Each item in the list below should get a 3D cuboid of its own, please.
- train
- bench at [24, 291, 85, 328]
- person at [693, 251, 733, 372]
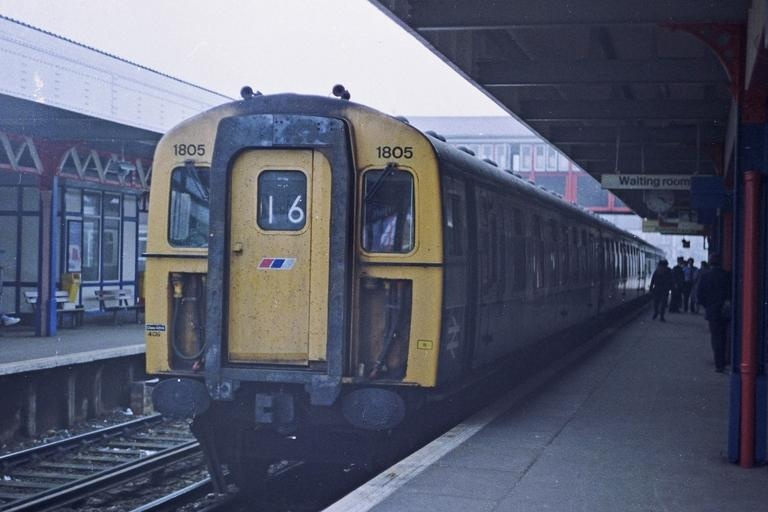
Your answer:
[{"bbox_3d":[0.496,0.452,11.164,3.133,5.082,7.636,-3,-2,34],"label":"train"},{"bbox_3d":[-8.698,1.411,19.279,1.269,1.010,1.749,-3,-2,15],"label":"bench"},{"bbox_3d":[6.474,1.161,14.041,0.574,1.671,1.037,-3,-2,23],"label":"person"}]
